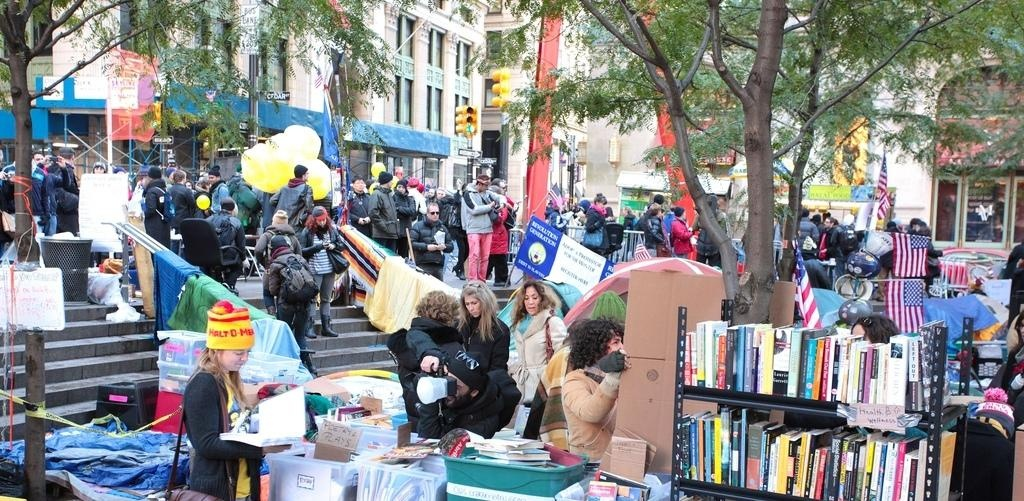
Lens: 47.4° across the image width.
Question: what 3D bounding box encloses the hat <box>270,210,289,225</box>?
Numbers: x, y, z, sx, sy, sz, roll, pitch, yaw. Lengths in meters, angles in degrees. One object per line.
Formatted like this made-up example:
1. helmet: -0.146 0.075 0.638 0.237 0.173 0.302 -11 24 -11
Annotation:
1. hat: -5.092 -0.733 25.910 0.411 0.400 0.316 5 5 -23

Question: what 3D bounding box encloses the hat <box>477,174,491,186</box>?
1. hat: -0.705 -1.809 29.467 0.252 0.287 0.316 12 17 12

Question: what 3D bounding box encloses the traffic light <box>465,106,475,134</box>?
1. traffic light: -1.372 -4.336 39.131 0.341 0.971 0.866 2 -3 0

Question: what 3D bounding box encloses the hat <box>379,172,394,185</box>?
1. hat: -3.047 -1.777 28.698 0.336 0.275 0.253 3 20 -24

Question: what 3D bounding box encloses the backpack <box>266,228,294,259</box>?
1. backpack: -4.948 -0.174 25.083 0.485 0.558 0.554 2 -27 -18

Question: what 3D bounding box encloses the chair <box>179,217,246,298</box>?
1. chair: -6.694 0.130 26.356 1.188 1.525 1.308 -2 -1 33

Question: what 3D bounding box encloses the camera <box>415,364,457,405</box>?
1. camera: -1.276 2.251 20.632 0.494 0.719 0.764 22 -39 -14

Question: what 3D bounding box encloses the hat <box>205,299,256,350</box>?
1. hat: -4.796 1.227 19.860 0.758 0.803 0.804 -2 5 -28

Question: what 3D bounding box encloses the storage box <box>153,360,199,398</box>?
1. storage box: -6.411 2.430 22.833 1.008 0.628 1.032 4 0 37

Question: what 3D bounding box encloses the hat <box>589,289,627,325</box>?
1. hat: 1.887 1.097 22.651 0.708 0.667 0.553 2 7 14

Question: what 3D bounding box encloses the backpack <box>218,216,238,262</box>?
1. backpack: -6.395 -0.271 26.526 0.386 0.906 0.687 -6 20 -38

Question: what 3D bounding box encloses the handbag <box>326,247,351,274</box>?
1. handbag: -3.878 0.198 26.186 0.390 0.514 0.220 -26 7 10

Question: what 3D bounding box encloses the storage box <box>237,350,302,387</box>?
1. storage box: -4.780 2.336 23.168 0.676 0.328 0.907 2 3 -43

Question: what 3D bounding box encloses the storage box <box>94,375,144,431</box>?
1. storage box: -7.591 3.006 22.807 1.148 0.821 0.814 0 -4 -3

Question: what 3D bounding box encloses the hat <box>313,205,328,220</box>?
1. hat: -4.263 -0.851 25.774 0.242 0.211 0.335 -15 2 -36

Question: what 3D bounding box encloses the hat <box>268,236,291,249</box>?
1. hat: -4.963 -0.192 25.042 0.361 0.343 0.273 9 15 -9

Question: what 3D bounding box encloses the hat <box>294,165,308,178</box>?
1. hat: -4.974 -1.878 27.469 0.304 0.286 0.272 -19 37 -18

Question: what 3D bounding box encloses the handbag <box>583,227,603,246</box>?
1. handbag: 2.281 -0.354 32.396 0.546 0.751 0.430 4 11 6
